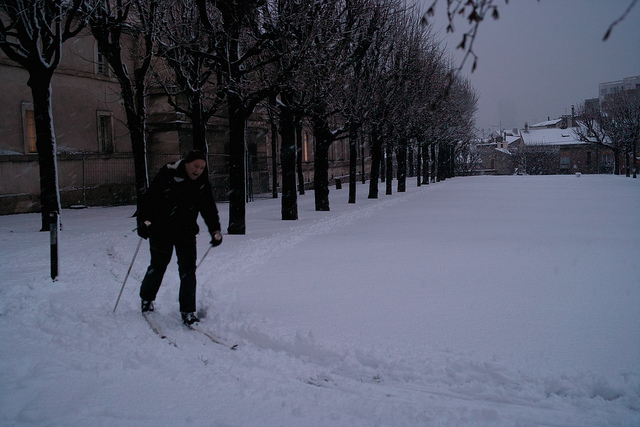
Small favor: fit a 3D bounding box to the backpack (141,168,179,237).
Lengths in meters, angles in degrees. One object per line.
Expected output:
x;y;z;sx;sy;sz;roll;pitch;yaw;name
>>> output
-2.588;-0.127;8.485;0.724;0.896;0.199;-22;-16;27;backpack
